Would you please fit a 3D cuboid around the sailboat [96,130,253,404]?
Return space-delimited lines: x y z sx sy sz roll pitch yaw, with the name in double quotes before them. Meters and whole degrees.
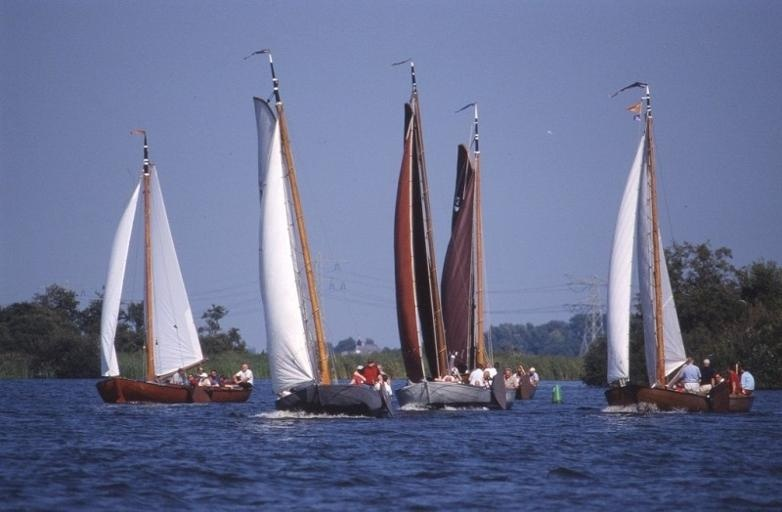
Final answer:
"sailboat" -13.993 0.933 66.197 9.369 17.856 5.108 -4 7 0
